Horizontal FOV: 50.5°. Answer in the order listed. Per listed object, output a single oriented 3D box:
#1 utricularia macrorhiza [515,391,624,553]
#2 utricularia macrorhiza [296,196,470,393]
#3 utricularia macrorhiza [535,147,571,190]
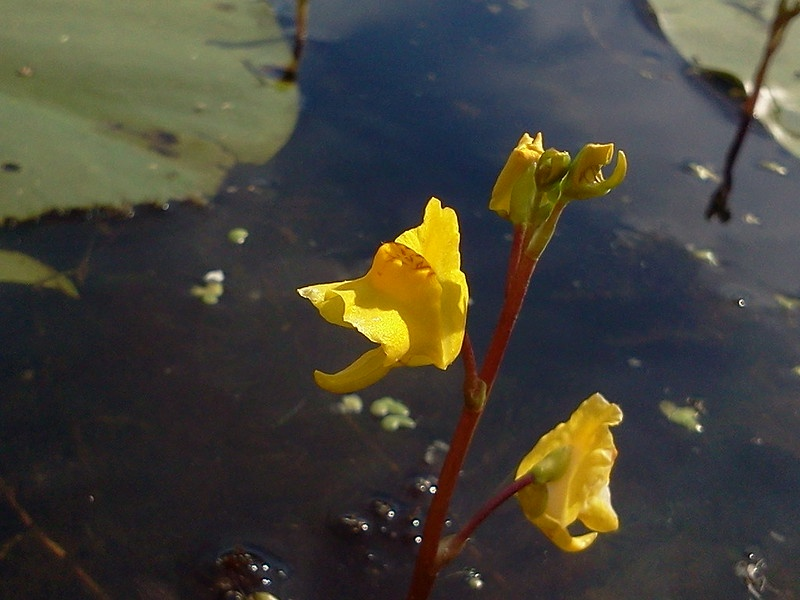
[{"bbox_3d":[0.301,0.309,1.534,0.171,0.158,0.252,3,64,-3],"label":"utricularia macrorhiza"},{"bbox_3d":[-0.022,0.003,1.487,0.292,0.247,0.238,-7,101,7],"label":"utricularia macrorhiza"},{"bbox_3d":[0.265,-0.221,1.462,0.071,0.089,0.035,2,72,3],"label":"utricularia macrorhiza"}]
